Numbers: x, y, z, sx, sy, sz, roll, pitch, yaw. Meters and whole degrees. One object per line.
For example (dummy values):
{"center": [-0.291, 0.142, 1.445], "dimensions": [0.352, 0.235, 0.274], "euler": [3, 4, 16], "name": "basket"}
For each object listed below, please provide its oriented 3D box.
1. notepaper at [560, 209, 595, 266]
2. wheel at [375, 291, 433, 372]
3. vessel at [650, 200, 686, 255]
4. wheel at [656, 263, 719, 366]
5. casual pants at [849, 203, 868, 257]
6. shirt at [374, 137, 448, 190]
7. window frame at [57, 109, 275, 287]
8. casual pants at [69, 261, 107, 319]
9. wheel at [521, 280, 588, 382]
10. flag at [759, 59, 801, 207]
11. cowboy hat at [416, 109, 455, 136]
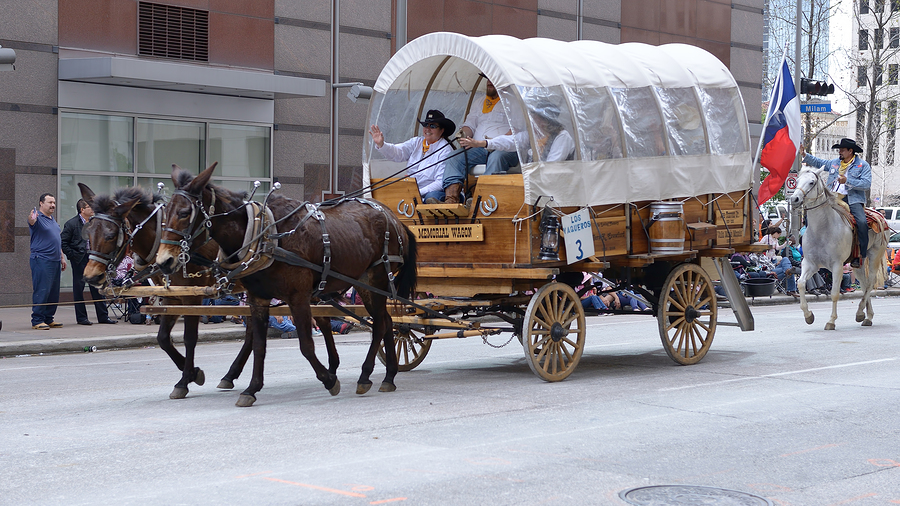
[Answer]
{"center": [2.315, -0.263, 19.776], "dimensions": [0.033, 1.013, 1.186], "euler": [4, 12, 34], "name": "notepaper"}
{"center": [-0.864, 1.424, 20.395], "dimensions": [0.475, 1.540, 1.802], "euler": [6, 5, 36], "name": "wheel"}
{"center": [4.292, -0.402, 21.108], "dimensions": [0.774, 0.920, 0.758], "euler": [-8, -9, 26], "name": "vessel"}
{"center": [4.652, 1.203, 21.516], "dimensions": [0.630, 1.972, 2.322], "euler": [-1, 1, 39], "name": "wheel"}
{"center": [10.090, -0.632, 26.725], "dimensions": [0.447, 1.034, 0.851], "euler": [-2, -8, 15], "name": "casual pants"}
{"center": [-0.549, -1.815, 21.279], "dimensions": [1.978, 0.789, 1.013], "euler": [6, 12, 3], "name": "shirt"}
{"center": [-7.850, -1.450, 30.141], "dimensions": [8.397, 4.833, 0.376], "euler": [6, 2, 32], "name": "window frame"}
{"center": [-8.830, 0.913, 26.781], "dimensions": [0.775, 2.361, 0.624], "euler": [-4, -44, -15], "name": "casual pants"}
{"center": [1.901, 1.426, 20.016], "dimensions": [1.964, 1.656, 0.647], "euler": [11, -8, -43], "name": "wheel"}
{"center": [7.311, -2.737, 24.272], "dimensions": [0.960, 3.262, 1.353], "euler": [-2, 2, 15], "name": "flag"}
{"center": [-0.313, -2.563, 21.233], "dimensions": [0.681, 0.227, 0.549], "euler": [7, -21, 31], "name": "cowboy hat"}
